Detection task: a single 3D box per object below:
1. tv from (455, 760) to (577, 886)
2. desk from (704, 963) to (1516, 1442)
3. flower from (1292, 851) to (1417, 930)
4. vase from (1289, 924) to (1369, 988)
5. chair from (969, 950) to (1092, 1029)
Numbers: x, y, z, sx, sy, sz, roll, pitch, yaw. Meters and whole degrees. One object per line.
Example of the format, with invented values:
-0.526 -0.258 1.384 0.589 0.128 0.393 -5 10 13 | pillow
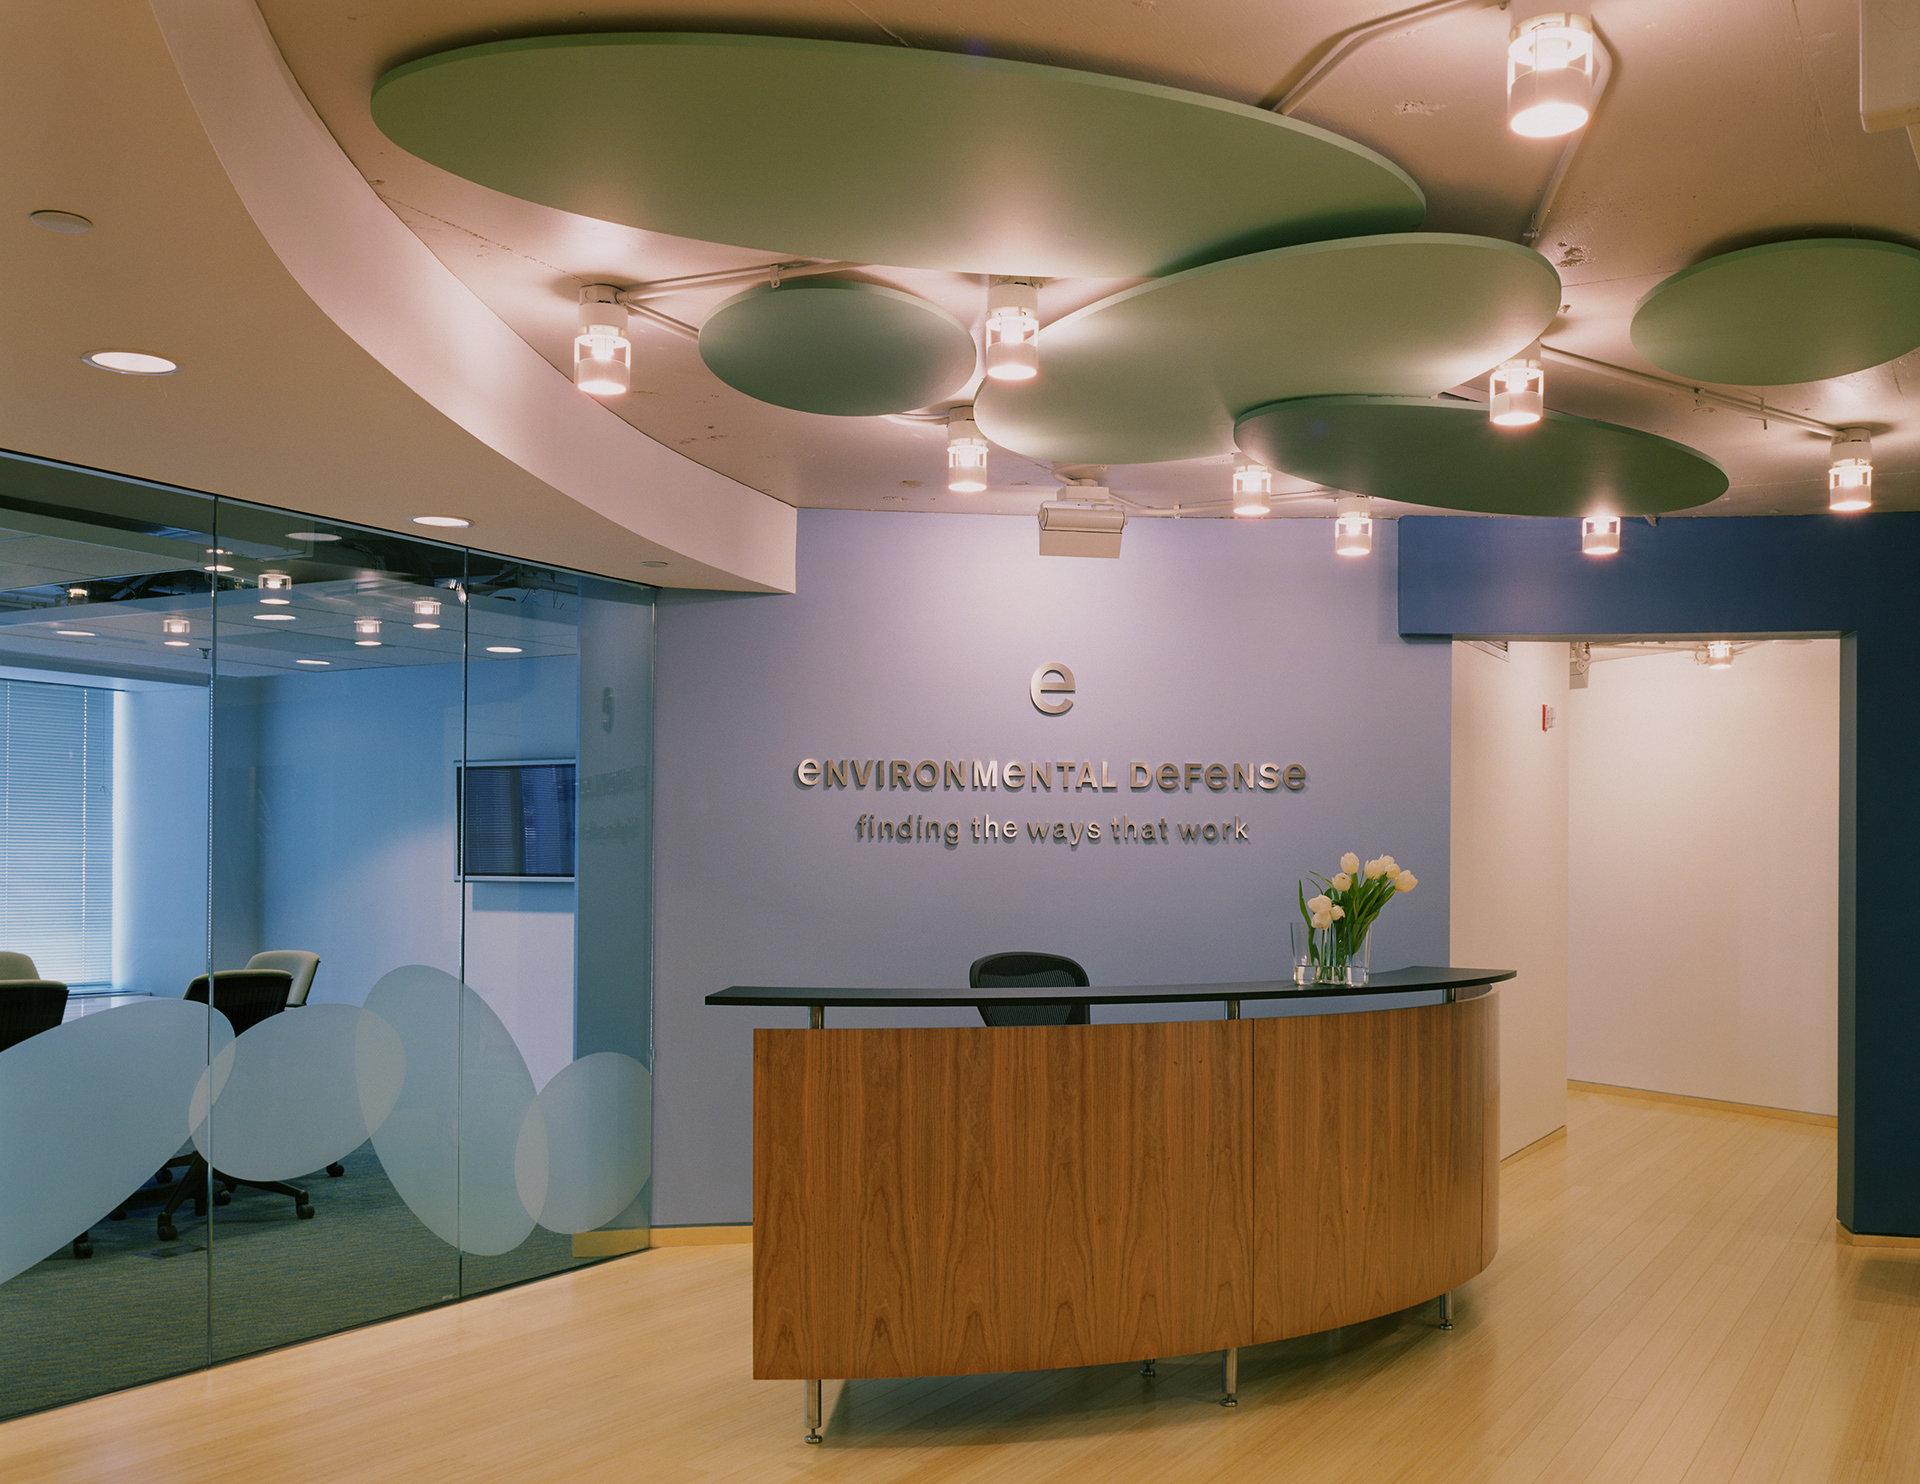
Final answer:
-2.069 0.401 7.313 0.762 0.551 0.070 -1 -1 27 | tv
0.809 1.656 6.230 3.368 1.591 1.201 -1 0 -22 | desk
1.603 0.676 6.362 0.488 0.414 0.295 0 0 -29 | flower
1.519 0.900 6.382 0.244 0.183 0.248 1 -7 2 | vase
0.320 1.025 6.522 0.385 0.509 0.386 2 -16 -10 | chair
